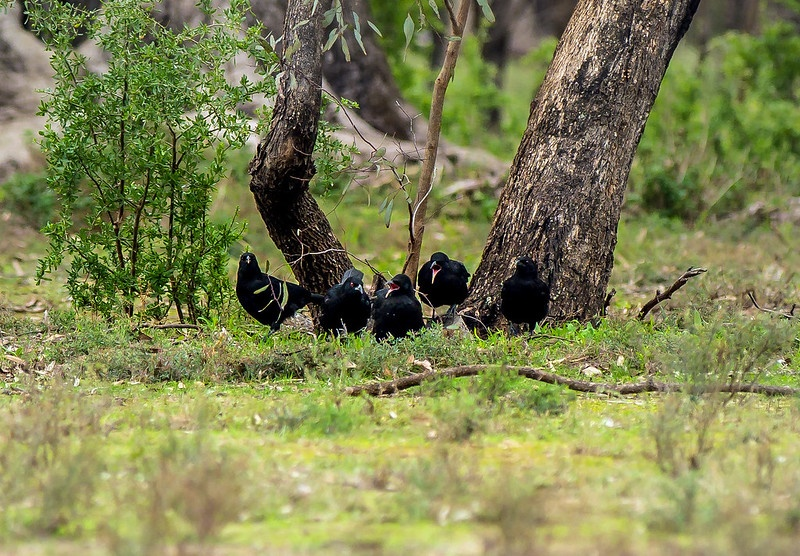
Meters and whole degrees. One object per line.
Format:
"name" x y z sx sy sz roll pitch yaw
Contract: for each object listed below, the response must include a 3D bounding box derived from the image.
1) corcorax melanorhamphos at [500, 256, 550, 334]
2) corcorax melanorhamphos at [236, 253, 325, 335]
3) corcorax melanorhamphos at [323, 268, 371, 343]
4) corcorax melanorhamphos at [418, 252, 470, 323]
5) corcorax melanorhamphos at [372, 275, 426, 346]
"corcorax melanorhamphos" 1.139 0.181 10.971 0.397 0.778 0.632 0 66 7
"corcorax melanorhamphos" -1.256 0.121 10.846 0.997 0.771 0.528 1 -12 -11
"corcorax melanorhamphos" -0.514 0.274 10.643 0.479 0.639 0.375 -2 27 -3
"corcorax melanorhamphos" 0.456 -0.007 11.552 0.483 0.658 0.847 4 20 15
"corcorax melanorhamphos" 0.061 0.251 10.744 0.433 0.618 0.656 9 12 34
